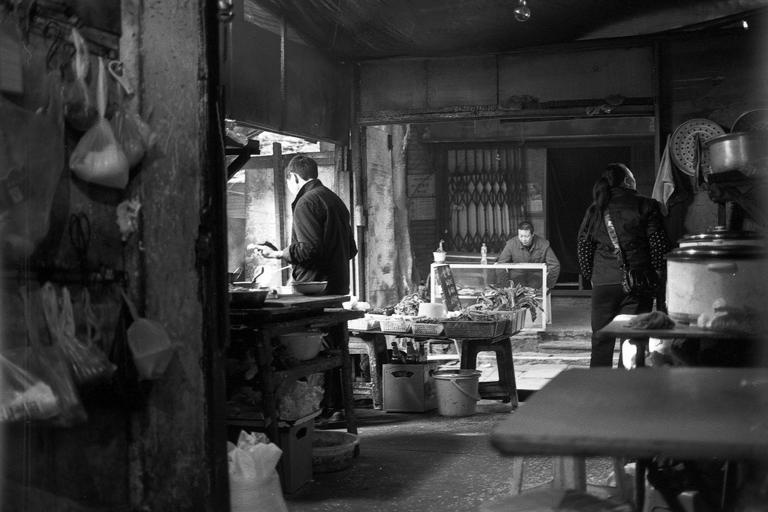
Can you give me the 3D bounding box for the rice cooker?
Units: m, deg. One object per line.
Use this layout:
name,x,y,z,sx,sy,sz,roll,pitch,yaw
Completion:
rice cooker,2.280,0.129,5.507,0.643,0.575,0.656,0,-5,-9

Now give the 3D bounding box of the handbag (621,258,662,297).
handbag,2.560,0.196,7.773,0.374,0.340,0.198,1,-12,-27

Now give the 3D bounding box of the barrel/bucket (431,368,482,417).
barrel/bucket,0.788,1.473,8.492,0.487,0.381,0.487,1,-3,0

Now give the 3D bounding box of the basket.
basket,0.597,0.753,8.727,1.754,0.304,0.645,0,4,11

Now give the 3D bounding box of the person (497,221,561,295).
person,2.172,0.017,11.785,0.934,1.045,0.899,-1,4,3

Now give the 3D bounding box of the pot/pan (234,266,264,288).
pot/pan,-1.386,0.213,8.044,0.311,0.216,0.177,7,9,42

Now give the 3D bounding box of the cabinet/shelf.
cabinet/shelf,-0.761,1.036,6.398,0.556,1.229,1.475,-3,0,29

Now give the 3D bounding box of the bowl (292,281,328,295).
bowl,-0.688,0.292,7.081,0.297,0.126,0.298,-1,4,0
